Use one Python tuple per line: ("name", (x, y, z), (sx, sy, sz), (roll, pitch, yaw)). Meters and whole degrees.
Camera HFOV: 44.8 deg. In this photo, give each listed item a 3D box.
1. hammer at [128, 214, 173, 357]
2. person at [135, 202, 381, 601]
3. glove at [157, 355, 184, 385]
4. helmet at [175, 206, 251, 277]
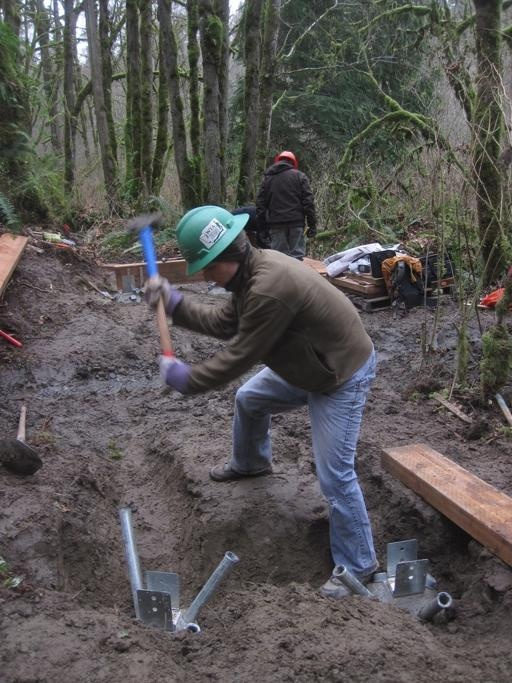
("hammer", (-0.577, -0.332, 3.669), (0.123, 1.005, 0.286), (-1, -18, -32))
("person", (0.054, 0.097, 3.517), (1.327, 2.118, 1.207), (4, 8, 35))
("glove", (-0.432, 0.134, 3.101), (0.104, 0.127, 0.187), (-4, 9, -11))
("helmet", (-0.249, -0.531, 3.006), (0.380, 0.225, 0.301), (-43, 38, 0))
